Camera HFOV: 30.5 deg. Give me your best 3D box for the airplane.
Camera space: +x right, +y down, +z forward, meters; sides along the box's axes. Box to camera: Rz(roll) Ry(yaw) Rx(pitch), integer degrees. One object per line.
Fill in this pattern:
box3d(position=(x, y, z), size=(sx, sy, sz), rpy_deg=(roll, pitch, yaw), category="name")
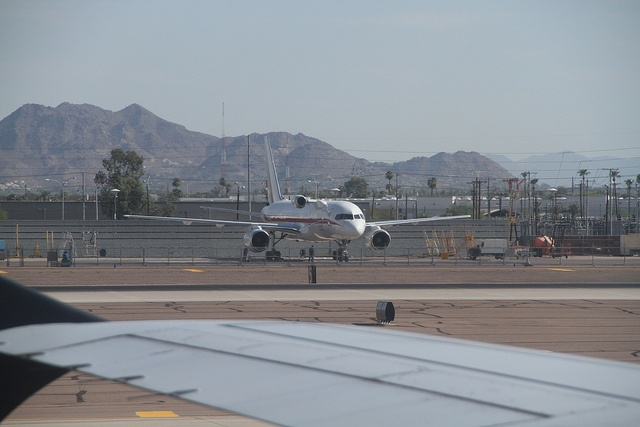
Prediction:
box3d(position=(-2.889, -3.250, 234.316), size=(34.059, 25.414, 18.495), rpy_deg=(0, 0, 27), category="airplane")
